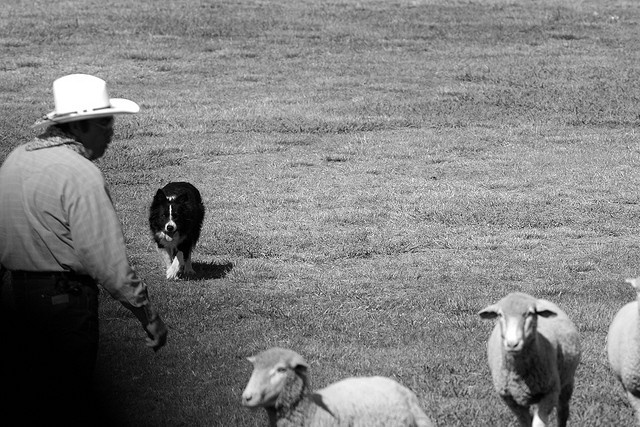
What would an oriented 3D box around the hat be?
[{"bbox_3d":[-2.153,-1.058,8.914,0.652,0.267,0.608,-10,9,-14],"label":"hat"}]
